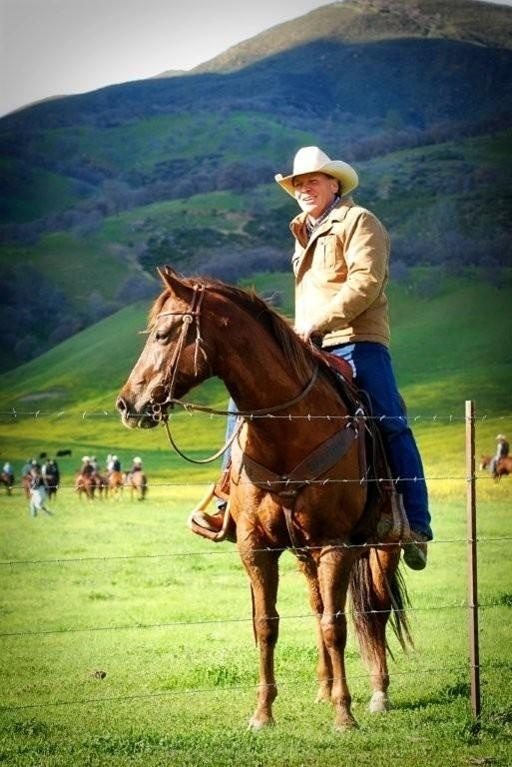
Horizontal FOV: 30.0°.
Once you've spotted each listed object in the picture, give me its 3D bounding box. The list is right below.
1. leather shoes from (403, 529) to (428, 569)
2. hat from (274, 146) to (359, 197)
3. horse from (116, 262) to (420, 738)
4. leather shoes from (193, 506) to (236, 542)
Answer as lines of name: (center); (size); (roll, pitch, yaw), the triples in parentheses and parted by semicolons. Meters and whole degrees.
leather shoes: (1.287, 1.334, 7.649); (0.191, 0.186, 0.476); (-4, -33, 11)
hat: (0.614, -1.794, 7.943); (0.533, 0.229, 0.621); (-17, -28, 21)
horse: (0.385, 1.080, 7.335); (1.377, 3.075, 4.544); (-9, -18, 19)
leather shoes: (-0.312, 1.073, 7.257); (0.296, 0.138, 0.355); (6, -4, -2)
